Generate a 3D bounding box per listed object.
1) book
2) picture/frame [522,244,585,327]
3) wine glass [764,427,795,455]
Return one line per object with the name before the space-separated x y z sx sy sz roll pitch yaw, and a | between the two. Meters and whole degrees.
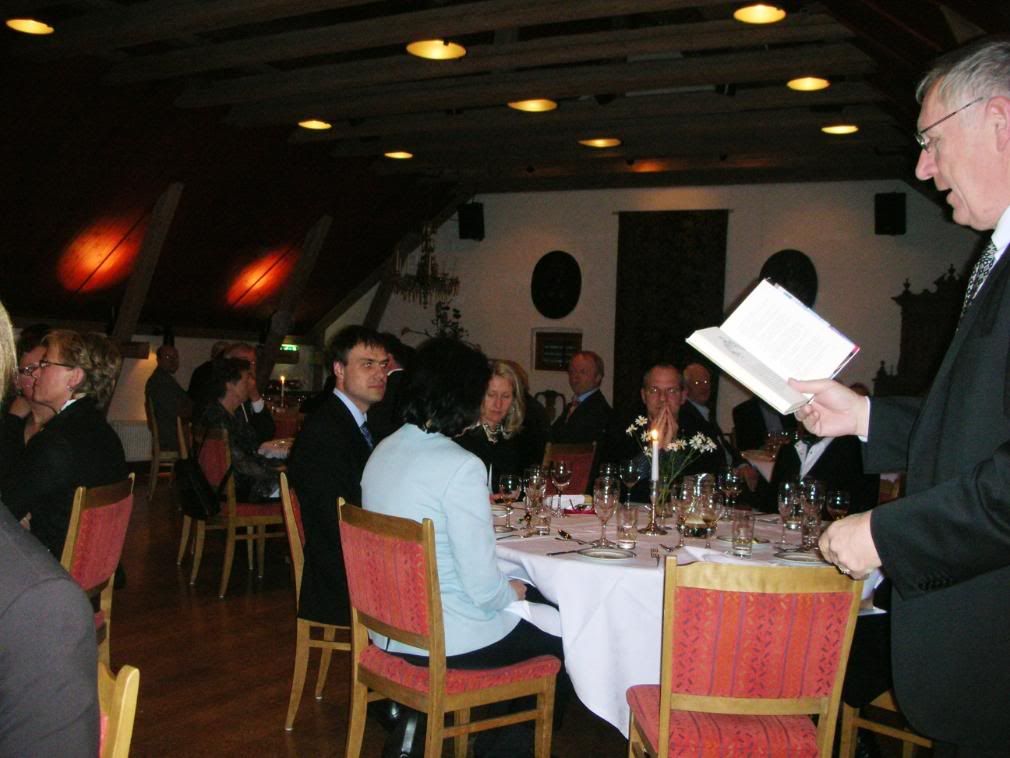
book | 0.712 -0.090 2.268 0.363 0.383 0.156 41 -16 25
picture/frame | 0.695 -1.244 11.280 0.752 0.887 0.117 4 5 35
wine glass | 2.141 0.475 6.571 0.103 0.085 0.274 -22 -11 -9
